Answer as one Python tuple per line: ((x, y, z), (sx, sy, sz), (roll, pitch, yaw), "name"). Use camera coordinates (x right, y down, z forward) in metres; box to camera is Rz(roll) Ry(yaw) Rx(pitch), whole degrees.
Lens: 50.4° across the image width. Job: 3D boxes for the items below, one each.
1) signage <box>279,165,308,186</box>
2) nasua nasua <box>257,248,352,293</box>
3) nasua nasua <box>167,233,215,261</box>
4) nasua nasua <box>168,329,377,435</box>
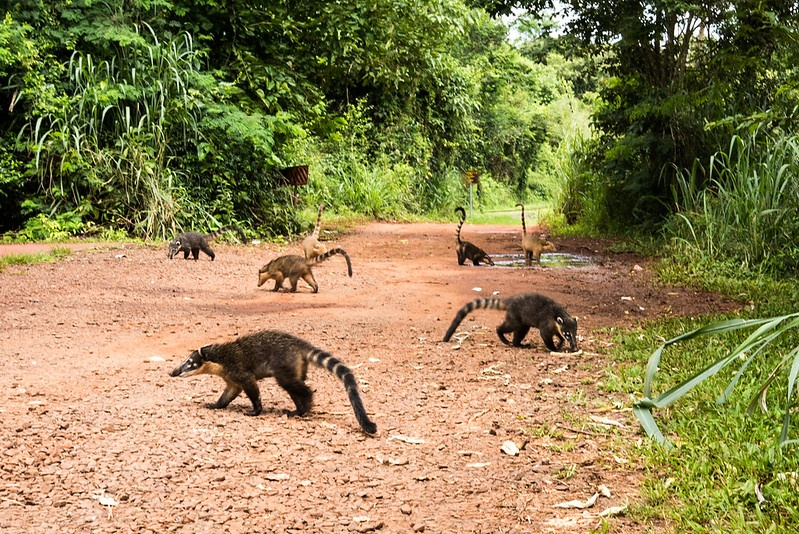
((-2.575, -2.196, 20.587), (0.647, 0.476, 0.640), (-2, 9, -12), "signage")
((-1.601, 0.023, 13.661), (1.244, 0.591, 1.008), (1, 9, 10), "nasua nasua")
((-3.785, -0.380, 15.398), (0.854, 0.490, 0.779), (-3, 9, -21), "nasua nasua")
((-1.345, 1.156, 9.314), (2.226, 1.020, 0.618), (1, 7, 6), "nasua nasua")
